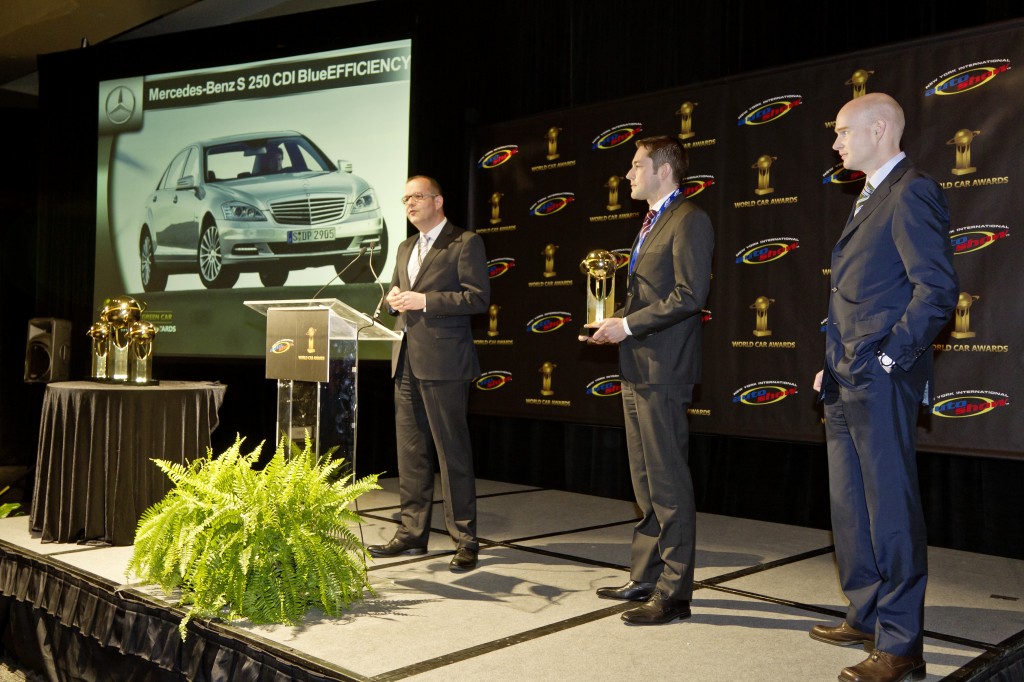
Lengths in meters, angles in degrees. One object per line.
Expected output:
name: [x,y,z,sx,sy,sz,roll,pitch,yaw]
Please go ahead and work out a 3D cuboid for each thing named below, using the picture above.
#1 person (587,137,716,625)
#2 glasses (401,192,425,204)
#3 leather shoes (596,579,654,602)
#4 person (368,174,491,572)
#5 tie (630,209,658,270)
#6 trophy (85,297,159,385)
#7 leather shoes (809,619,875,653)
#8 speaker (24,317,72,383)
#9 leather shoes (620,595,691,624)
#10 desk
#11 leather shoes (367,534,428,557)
person: [0.704,0.172,4.182,0.631,2.447,0.826,2,-1,1]
glasses: [-0.600,-0.842,4.735,0.079,0.061,0.187,-1,4,-35]
leather shoes: [0.592,1.294,4.166,0.329,0.132,0.108,2,-5,7]
person: [-0.475,0.158,4.749,0.651,2.255,0.585,2,4,8]
tie: [0.680,-0.534,4.157,0.075,0.295,0.223,19,-11,7]
trophy: [-2.521,-0.013,5.176,0.361,0.538,0.651,-1,4,-28]
leather shoes: [1.536,1.354,3.712,0.246,0.114,0.101,6,-1,27]
speaker: [-3.875,0.078,6.694,0.367,0.524,0.208,2,-1,18]
leather shoes: [0.702,1.324,3.947,0.329,0.132,0.127,3,-10,-15]
desk: [-2.316,0.722,5.102,0.872,0.940,1.123,2,11,-10]
leather shoes: [-0.656,1.226,4.746,0.387,0.153,0.131,4,-7,-14]
